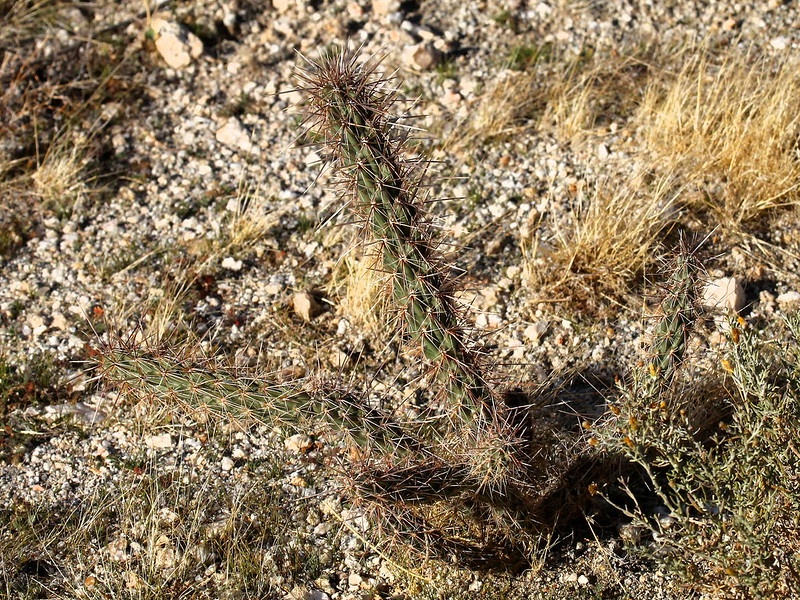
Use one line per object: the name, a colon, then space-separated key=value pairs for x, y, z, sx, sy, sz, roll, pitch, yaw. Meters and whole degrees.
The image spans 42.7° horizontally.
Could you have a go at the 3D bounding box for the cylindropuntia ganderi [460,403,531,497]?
cylindropuntia ganderi: x=0.460 y=0.696 z=4.775 sx=0.161 sy=0.362 sz=0.412 roll=6 pitch=80 yaw=12
